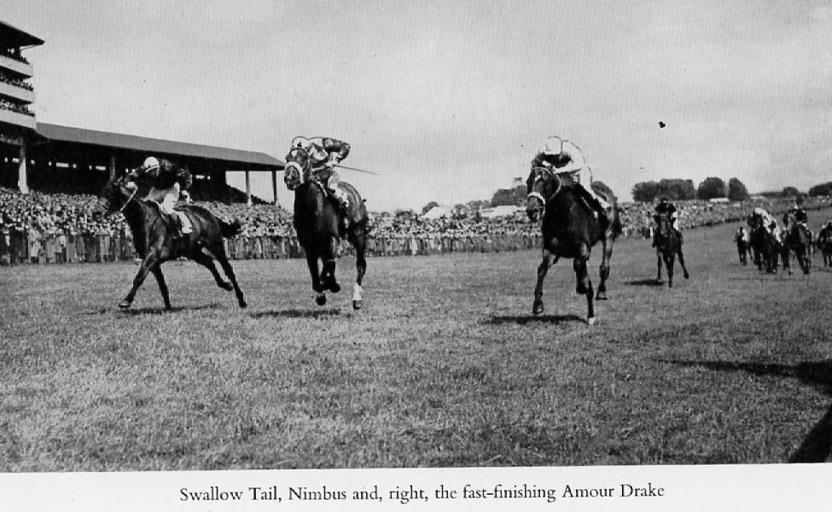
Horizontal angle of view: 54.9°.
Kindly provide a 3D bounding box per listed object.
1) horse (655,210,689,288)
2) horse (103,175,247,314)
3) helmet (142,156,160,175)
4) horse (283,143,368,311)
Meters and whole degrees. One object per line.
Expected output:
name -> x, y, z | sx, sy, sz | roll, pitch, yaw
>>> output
horse -> 7.512, -0.263, 23.400 | 0.682, 1.821, 2.741 | -12, 1, 6
horse -> -5.871, -0.092, 19.758 | 1.006, 3.127, 4.197 | -9, -5, 34
helmet -> -6.371, -2.154, 19.231 | 0.309, 0.405, 0.419 | -9, 6, -30
horse -> -2.154, -0.675, 19.052 | 1.952, 4.058, 1.245 | -4, 15, -16
